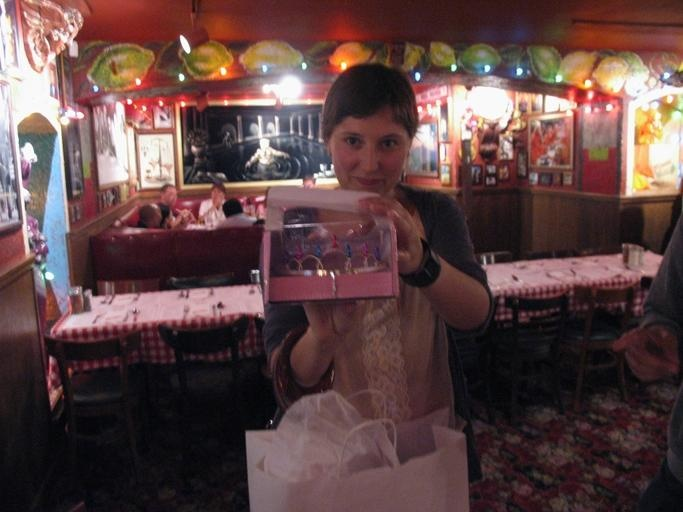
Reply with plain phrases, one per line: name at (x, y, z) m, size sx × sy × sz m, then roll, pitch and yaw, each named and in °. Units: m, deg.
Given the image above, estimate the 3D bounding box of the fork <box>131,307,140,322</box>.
fork at (-1.446, 0.408, 3.607) m, size 0.039 × 0.028 × 0.219 m, roll -10°, pitch 13°, yaw -14°

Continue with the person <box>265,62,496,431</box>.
person at (0.093, 0.162, 1.605) m, size 0.598 × 1.439 × 0.608 m, roll -14°, pitch 21°, yaw -31°

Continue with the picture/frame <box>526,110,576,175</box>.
picture/frame at (3.154, -1.693, 7.652) m, size 0.066 × 0.987 × 0.883 m, roll -6°, pitch 10°, yaw -25°

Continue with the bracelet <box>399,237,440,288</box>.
bracelet at (0.210, 0.023, 1.360) m, size 0.110 × 0.135 × 0.044 m, roll -1°, pitch 13°, yaw 4°

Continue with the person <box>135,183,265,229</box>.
person at (-2.350, -0.795, 8.165) m, size 1.329 × 0.620 × 1.127 m, roll -2°, pitch 14°, yaw -7°
